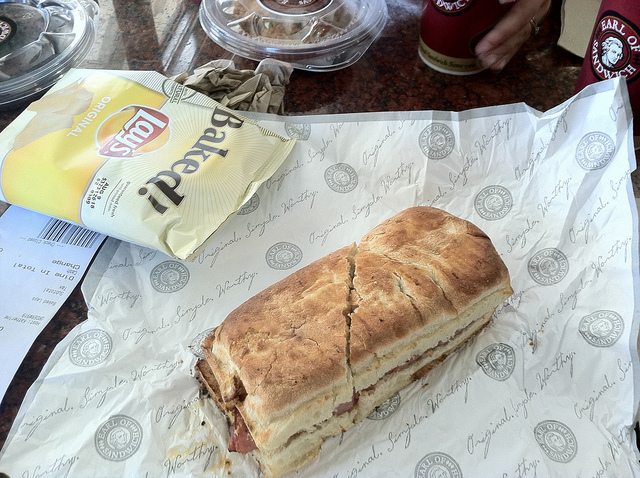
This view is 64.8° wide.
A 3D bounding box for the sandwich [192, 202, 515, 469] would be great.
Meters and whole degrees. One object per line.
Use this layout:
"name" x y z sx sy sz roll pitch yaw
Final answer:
"sandwich" 0.125 0.249 1.424 0.849 0.316 0.441 -31 67 -12
